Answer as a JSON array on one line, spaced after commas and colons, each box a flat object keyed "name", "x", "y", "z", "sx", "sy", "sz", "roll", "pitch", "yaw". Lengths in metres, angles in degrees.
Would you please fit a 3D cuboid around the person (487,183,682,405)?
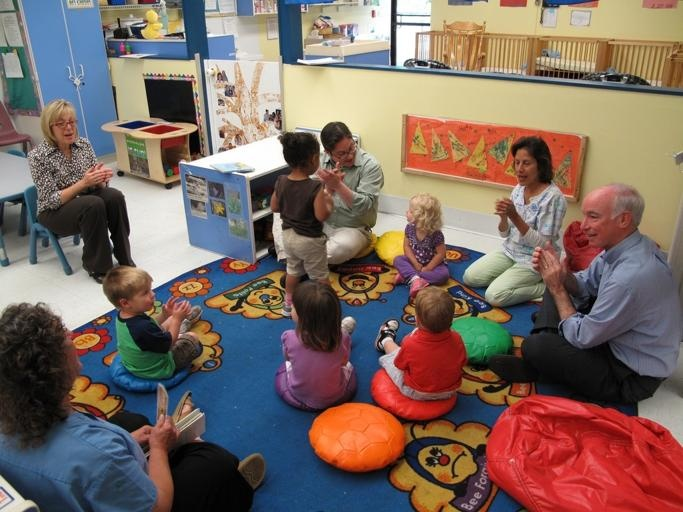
[{"name": "person", "x": 1.466, "y": -0.009, "z": 3.052, "sx": 1.217, "sy": 1.444, "sz": 0.951, "roll": 9, "pitch": 31, "yaw": 29}]

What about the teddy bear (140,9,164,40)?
[{"name": "teddy bear", "x": -2.447, "y": -2.945, "z": 6.135, "sx": 0.250, "sy": 0.334, "sz": 0.513, "roll": -9, "pitch": 28, "yaw": -19}]

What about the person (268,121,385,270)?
[{"name": "person", "x": -0.152, "y": -0.467, "z": 3.918, "sx": 0.880, "sy": 1.216, "sz": 0.843, "roll": 12, "pitch": 22, "yaw": 9}]

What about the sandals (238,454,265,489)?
[{"name": "sandals", "x": -0.404, "y": 0.982, "z": 2.201, "sx": 0.061, "sy": 0.186, "sz": 0.101, "roll": 3, "pitch": 30, "yaw": 10}]

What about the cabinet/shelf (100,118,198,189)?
[{"name": "cabinet/shelf", "x": -2.146, "y": -1.155, "z": 5.453, "sx": 0.966, "sy": 0.484, "sz": 0.566, "roll": 16, "pitch": 30, "yaw": 28}]

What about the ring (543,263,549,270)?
[{"name": "ring", "x": 1.136, "y": 0.062, "z": 2.659, "sx": 0.006, "sy": 0.023, "sz": 0.024, "roll": 6, "pitch": -2, "yaw": -30}]

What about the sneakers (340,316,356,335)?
[{"name": "sneakers", "x": 0.036, "y": 0.442, "z": 3.083, "sx": 0.086, "sy": 0.114, "sz": 0.114, "roll": 4, "pitch": 49, "yaw": 13}]

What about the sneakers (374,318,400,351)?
[{"name": "sneakers", "x": 0.289, "y": 0.496, "z": 3.070, "sx": 0.087, "sy": 0.095, "sz": 0.240, "roll": 33, "pitch": 51, "yaw": -6}]

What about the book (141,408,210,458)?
[{"name": "book", "x": -0.683, "y": 0.762, "z": 2.065, "sx": 0.154, "sy": 0.038, "sz": 0.158, "roll": -51, "pitch": 26, "yaw": -18}]

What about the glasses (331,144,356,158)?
[{"name": "glasses", "x": -0.004, "y": -0.805, "z": 3.650, "sx": 0.118, "sy": 0.037, "sz": 0.118, "roll": -36, "pitch": 37, "yaw": -31}]

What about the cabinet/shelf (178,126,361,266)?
[{"name": "cabinet/shelf", "x": -0.850, "y": -0.591, "z": 4.474, "sx": 0.769, "sy": 0.722, "sz": 1.090, "roll": 4, "pitch": 25, "yaw": 14}]

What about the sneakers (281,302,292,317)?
[{"name": "sneakers", "x": -0.375, "y": 0.377, "z": 3.372, "sx": 0.064, "sy": 0.064, "sz": 0.138, "roll": 2, "pitch": 22, "yaw": 8}]
